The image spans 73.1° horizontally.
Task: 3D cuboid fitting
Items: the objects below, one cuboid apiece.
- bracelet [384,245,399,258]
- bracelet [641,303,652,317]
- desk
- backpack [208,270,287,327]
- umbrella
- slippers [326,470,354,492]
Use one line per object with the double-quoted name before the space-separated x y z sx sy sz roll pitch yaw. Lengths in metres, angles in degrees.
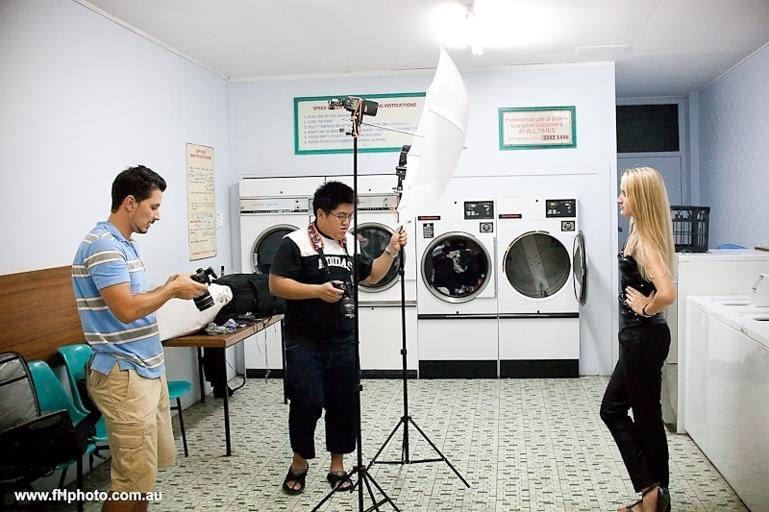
"bracelet" 0.051 -0.032 3.758 0.082 0.049 0.094 9 -7 -17
"bracelet" 1.693 0.354 3.363 0.023 0.066 0.065 8 -2 11
"desk" -1.499 1.214 4.827 0.445 0.678 1.390 0 0 4
"backpack" -1.268 0.395 4.795 0.474 0.336 0.486 -5 -2 10
"umbrella" 0.249 -1.175 4.936 0.684 1.448 1.417 16 29 4
"slippers" -0.324 1.684 3.808 0.140 0.098 0.297 2 -12 -11
